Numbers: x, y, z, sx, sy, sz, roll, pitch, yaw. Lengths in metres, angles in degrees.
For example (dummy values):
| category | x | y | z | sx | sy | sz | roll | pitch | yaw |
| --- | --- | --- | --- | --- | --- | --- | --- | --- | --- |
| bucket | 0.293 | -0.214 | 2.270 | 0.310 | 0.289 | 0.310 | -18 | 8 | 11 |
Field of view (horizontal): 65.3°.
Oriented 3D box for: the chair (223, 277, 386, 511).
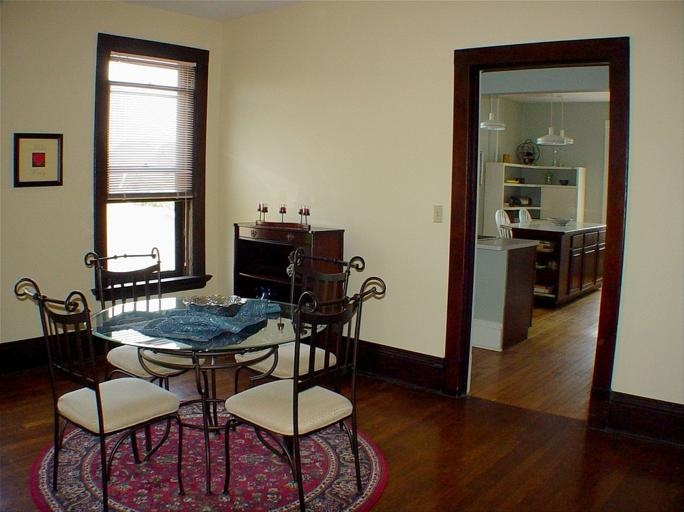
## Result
| category | x | y | z | sx | sy | sz | roll | pitch | yaw |
| --- | --- | --- | --- | --- | --- | --- | --- | --- | --- |
| chair | -0.197 | 0.689 | 3.427 | 0.834 | 1.251 | 1.353 | 3 | 10 | 8 |

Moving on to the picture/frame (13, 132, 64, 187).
| category | x | y | z | sx | sy | sz | roll | pitch | yaw |
| --- | --- | --- | --- | --- | --- | --- | --- | --- | --- |
| picture/frame | -2.608 | -0.833 | 4.552 | 0.039 | 0.524 | 0.456 | 11 | 12 | 39 |

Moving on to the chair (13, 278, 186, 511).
| category | x | y | z | sx | sy | sz | roll | pitch | yaw |
| --- | --- | --- | --- | --- | --- | --- | --- | --- | --- |
| chair | -1.577 | 0.926 | 3.438 | 0.800 | 1.709 | 0.979 | 13 | 17 | 39 |

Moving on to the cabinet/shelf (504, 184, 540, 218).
| category | x | y | z | sx | sy | sz | roll | pitch | yaw |
| --- | --- | --- | --- | --- | --- | --- | --- | --- | --- |
| cabinet/shelf | 3.531 | -1.050 | 10.498 | 1.014 | 0.647 | 0.474 | -8 | 14 | -44 |

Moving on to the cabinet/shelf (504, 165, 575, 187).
| category | x | y | z | sx | sy | sz | roll | pitch | yaw |
| --- | --- | --- | --- | --- | --- | --- | --- | --- | --- |
| cabinet/shelf | 3.903 | -1.607 | 10.581 | 1.366 | 0.374 | 0.864 | 3 | 10 | 6 |

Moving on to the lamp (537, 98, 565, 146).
| category | x | y | z | sx | sy | sz | roll | pitch | yaw |
| --- | --- | --- | --- | --- | --- | --- | --- | --- | --- |
| lamp | 3.701 | -2.407 | 9.401 | 0.379 | 0.899 | 2.889 | 5 | 11 | 20 |

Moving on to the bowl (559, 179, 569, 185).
| category | x | y | z | sx | sy | sz | roll | pitch | yaw |
| --- | --- | --- | --- | --- | --- | --- | --- | --- | --- |
| bowl | 4.338 | -1.444 | 10.440 | 0.114 | 0.064 | 0.115 | 1 | 0 | 0 |

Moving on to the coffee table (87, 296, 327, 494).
| category | x | y | z | sx | sy | sz | roll | pitch | yaw |
| --- | --- | --- | --- | --- | --- | --- | --- | --- | --- |
| coffee table | -0.919 | 0.596 | 3.296 | 1.190 | 0.762 | 1.207 | 2 | 7 | 20 |
